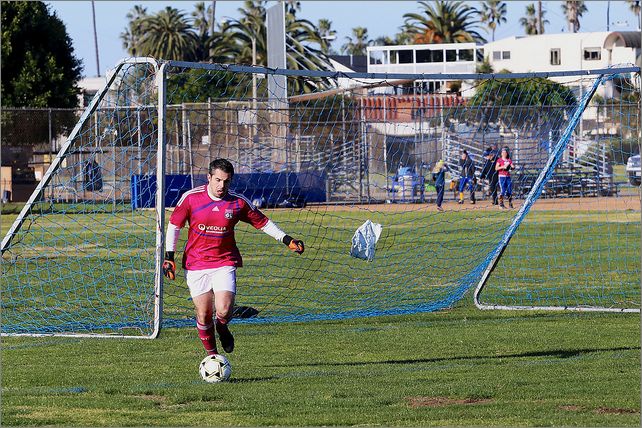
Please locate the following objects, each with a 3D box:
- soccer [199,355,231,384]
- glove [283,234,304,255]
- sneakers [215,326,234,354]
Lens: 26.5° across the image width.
[{"bbox_3d":[-2.106,3.131,27.254,0.508,0.552,0.546,-14,-19,31],"label":"soccer"},{"bbox_3d":[-0.537,0.627,27.587,0.349,0.164,0.361,29,-18,16],"label":"glove"},{"bbox_3d":[-1.925,2.512,27.566,0.272,0.592,0.239,-14,-3,-18],"label":"sneakers"}]
